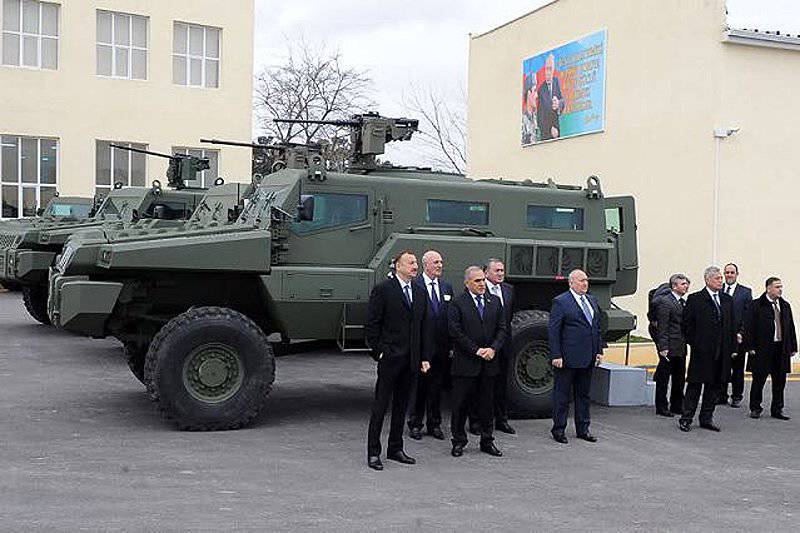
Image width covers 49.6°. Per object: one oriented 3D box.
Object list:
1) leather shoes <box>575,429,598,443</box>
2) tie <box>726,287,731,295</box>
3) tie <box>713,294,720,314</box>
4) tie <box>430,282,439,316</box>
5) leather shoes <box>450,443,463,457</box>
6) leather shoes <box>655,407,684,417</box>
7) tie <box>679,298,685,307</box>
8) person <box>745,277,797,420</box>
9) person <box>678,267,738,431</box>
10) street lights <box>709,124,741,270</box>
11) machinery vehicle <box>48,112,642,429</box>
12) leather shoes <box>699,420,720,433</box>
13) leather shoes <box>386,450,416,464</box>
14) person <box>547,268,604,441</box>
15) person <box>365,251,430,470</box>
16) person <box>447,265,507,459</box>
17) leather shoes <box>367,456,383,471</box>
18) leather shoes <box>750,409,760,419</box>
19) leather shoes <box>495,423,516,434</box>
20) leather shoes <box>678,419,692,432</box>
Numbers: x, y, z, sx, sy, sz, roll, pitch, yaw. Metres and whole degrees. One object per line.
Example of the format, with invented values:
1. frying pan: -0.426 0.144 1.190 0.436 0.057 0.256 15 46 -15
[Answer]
1. leather shoes: 2.420 2.223 11.279 0.270 0.120 0.115 -1 -1 43
2. tie: 5.036 0.392 13.362 0.026 0.101 0.097 27 -14 -35
3. tie: 4.451 0.533 12.192 0.122 0.225 0.056 -1 -12 -5
4. tie: 0.440 0.418 10.993 0.091 0.395 0.189 0 2 -24
5. leather shoes: 0.693 2.238 10.564 0.154 0.148 0.266 1 2 3
6. leather shoes: 3.931 2.145 12.634 0.381 0.171 0.131 -2 1 -14
7. tie: 4.112 0.538 12.662 0.074 0.104 0.042 2 -3 -42
8. person: 5.448 1.201 12.748 0.721 2.031 0.541 1 2 -2
9. person: 4.273 1.158 12.046 0.828 2.209 0.604 1 2 -1
10. street lights: 7.410 -1.599 19.975 0.481 3.187 0.256 1 2 1
11. machinery vehicle: -0.933 0.026 13.231 7.582 4.169 4.334 4 -1 -20
12. leather shoes: 4.268 2.243 11.985 0.293 0.131 0.102 1 4 10
13. leather shoes: 0.012 2.271 10.286 0.384 0.164 0.135 1 -3 24
14. person: 2.266 1.170 11.244 0.687 2.202 0.388 1 2 1
15. person: -0.042 1.241 10.123 0.714 2.201 0.349 0 2 -22
16. person: 0.931 1.166 10.654 0.696 2.279 0.486 1 2 4
17. leather shoes: -0.279 2.271 9.984 0.184 0.148 0.183 1 2 -5
18. leather shoes: 5.177 2.161 12.652 0.151 0.107 0.259 2 2 21
19. leather shoes: 1.395 2.176 11.571 0.303 0.136 0.113 -1 -1 35
20. leather shoes: 3.904 2.178 11.916 0.176 0.146 0.310 2 2 17
